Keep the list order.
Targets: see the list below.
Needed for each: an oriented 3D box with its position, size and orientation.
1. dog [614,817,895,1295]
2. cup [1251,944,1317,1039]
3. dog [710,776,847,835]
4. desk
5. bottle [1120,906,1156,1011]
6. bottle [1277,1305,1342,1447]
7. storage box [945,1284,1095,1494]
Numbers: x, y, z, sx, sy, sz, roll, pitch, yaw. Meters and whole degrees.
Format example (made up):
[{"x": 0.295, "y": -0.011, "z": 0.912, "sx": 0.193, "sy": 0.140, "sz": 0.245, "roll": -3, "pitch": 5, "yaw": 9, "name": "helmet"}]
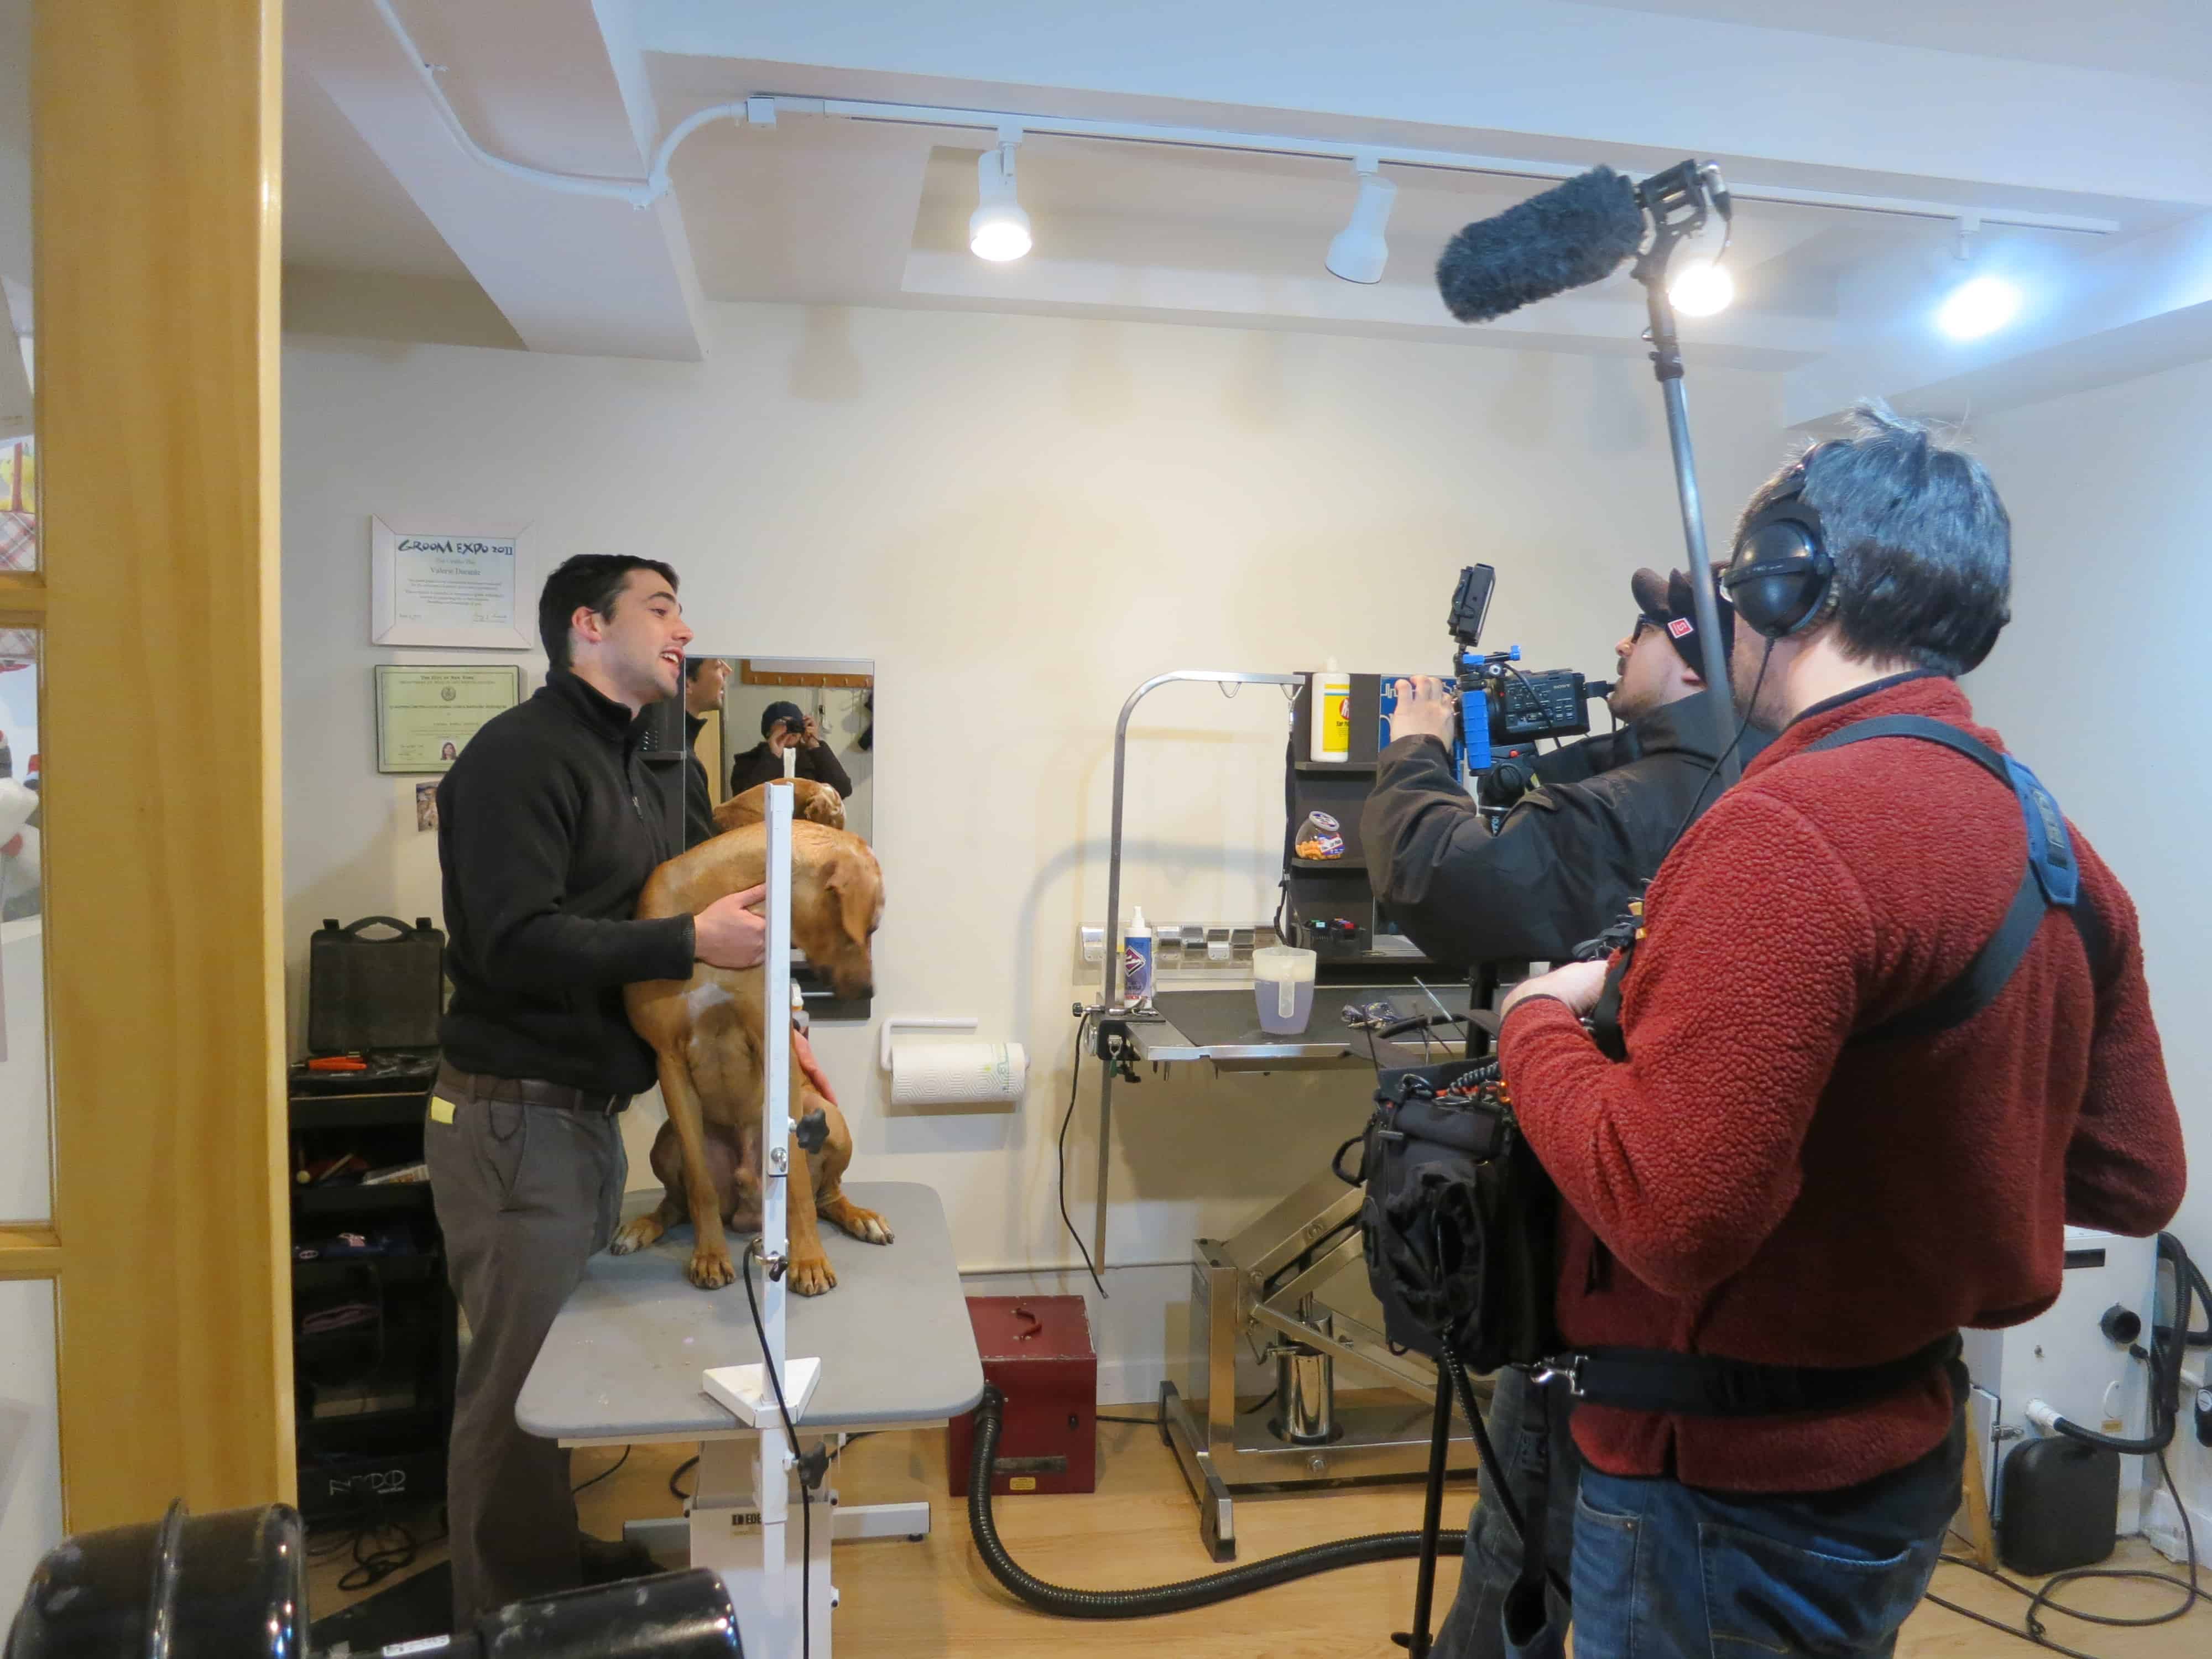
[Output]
[{"x": -0.558, "y": 0.335, "z": 2.990, "sx": 0.396, "sy": 0.744, "sz": 0.428, "roll": -4, "pitch": 13, "yaw": -36, "name": "dog"}, {"x": 0.353, "y": 0.335, "z": 3.788, "sx": 0.127, "sy": 0.163, "sz": 0.156, "roll": 1, "pitch": 3, "yaw": 0, "name": "cup"}, {"x": -0.560, "y": -0.040, "z": 3.143, "sx": 0.167, "sy": 0.096, "sz": 0.058, "roll": -11, "pitch": 34, "yaw": 8, "name": "dog"}, {"x": -0.496, "y": 0.774, "z": 2.759, "sx": 0.517, "sy": 0.502, "sz": 0.996, "roll": -1, "pitch": 9, "yaw": -6, "name": "desk"}, {"x": 0.066, "y": 0.278, "z": 4.017, "sx": 0.064, "sy": 0.202, "sz": 0.122, "roll": -3, "pitch": 0, "yaw": -4, "name": "bottle"}, {"x": 0.426, "y": 1.198, "z": 3.991, "sx": 0.114, "sy": 0.260, "sz": 0.099, "roll": -3, "pitch": 0, "yaw": 7, "name": "bottle"}, {"x": -0.142, "y": 1.153, "z": 4.023, "sx": 0.391, "sy": 0.415, "sz": 0.393, "roll": 6, "pitch": 13, "yaw": -2, "name": "storage box"}]
